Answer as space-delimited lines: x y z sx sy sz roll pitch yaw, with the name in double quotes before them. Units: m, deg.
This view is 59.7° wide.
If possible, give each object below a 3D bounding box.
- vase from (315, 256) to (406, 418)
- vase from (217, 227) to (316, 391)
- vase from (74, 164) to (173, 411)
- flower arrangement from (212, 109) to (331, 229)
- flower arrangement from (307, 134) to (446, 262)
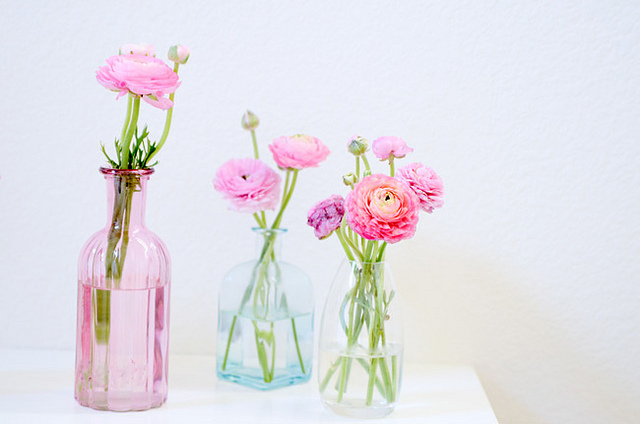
"vase" 0.099 0.259 1.196 0.210 0.333 0.149 1 11 -2
"vase" -0.130 0.218 1.326 0.219 0.373 0.239 2 0 -1
"vase" -0.414 0.160 1.150 0.198 0.496 0.119 -1 11 -15
"flower arrangement" -0.094 -0.098 1.311 0.251 0.310 0.231 7 27 0
"flower arrangement" 0.112 -0.064 1.113 0.160 0.182 0.143 -17 -5 -4
